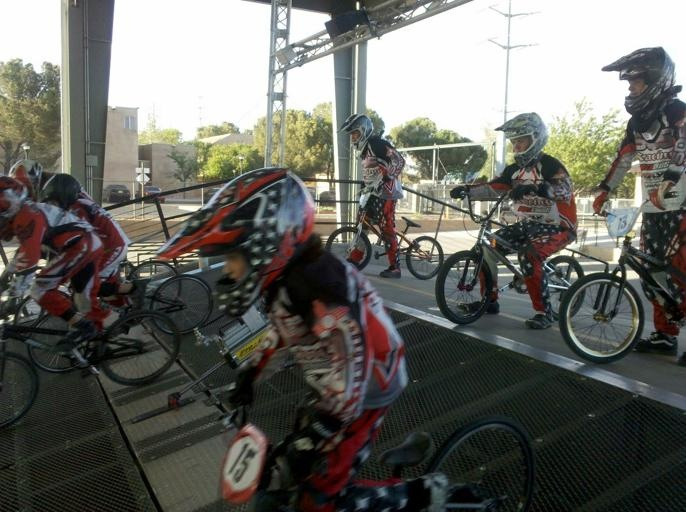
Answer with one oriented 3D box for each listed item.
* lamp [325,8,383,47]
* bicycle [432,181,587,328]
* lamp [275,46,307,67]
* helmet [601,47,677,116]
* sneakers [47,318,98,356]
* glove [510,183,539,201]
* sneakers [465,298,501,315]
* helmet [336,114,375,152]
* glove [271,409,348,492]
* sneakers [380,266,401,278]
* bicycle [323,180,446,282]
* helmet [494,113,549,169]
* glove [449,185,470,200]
[{"bbox_3d":[0.220,-5.061,11.505,1.191,0.577,0.420,10,16,31],"label":"lamp"},{"bbox_3d":[1.783,0.016,5.321,1.033,1.384,2.099,-1,0,-34],"label":"bicycle"},{"bbox_3d":[-1.137,-4.400,11.653,0.643,0.481,0.619,-5,15,-23],"label":"lamp"},{"bbox_3d":[2.748,-1.580,4.770,0.617,0.590,0.354,9,16,30],"label":"helmet"},{"bbox_3d":[-2.546,0.737,5.014,0.519,0.209,0.240,-31,23,8],"label":"sneakers"},{"bbox_3d":[1.862,-0.649,5.338,0.264,0.166,0.146,5,15,16],"label":"glove"},{"bbox_3d":[1.605,0.578,5.861,0.252,0.127,0.356,-12,2,-17],"label":"sneakers"},{"bbox_3d":[0.295,-1.882,8.024,0.562,0.491,0.410,-38,16,-22],"label":"helmet"},{"bbox_3d":[-0.187,0.872,2.391,0.299,0.180,0.404,-3,50,52],"label":"glove"},{"bbox_3d":[0.758,0.261,8.155,0.285,0.181,0.148,3,0,3],"label":"sneakers"},{"bbox_3d":[0.750,-0.332,8.298,2.046,1.364,1.052,5,2,-20],"label":"bicycle"},{"bbox_3d":[1.967,-1.237,5.558,0.497,0.503,0.376,-21,18,-20],"label":"helmet"},{"bbox_3d":[1.304,-0.710,5.836,0.226,0.141,0.231,8,20,26],"label":"glove"}]
